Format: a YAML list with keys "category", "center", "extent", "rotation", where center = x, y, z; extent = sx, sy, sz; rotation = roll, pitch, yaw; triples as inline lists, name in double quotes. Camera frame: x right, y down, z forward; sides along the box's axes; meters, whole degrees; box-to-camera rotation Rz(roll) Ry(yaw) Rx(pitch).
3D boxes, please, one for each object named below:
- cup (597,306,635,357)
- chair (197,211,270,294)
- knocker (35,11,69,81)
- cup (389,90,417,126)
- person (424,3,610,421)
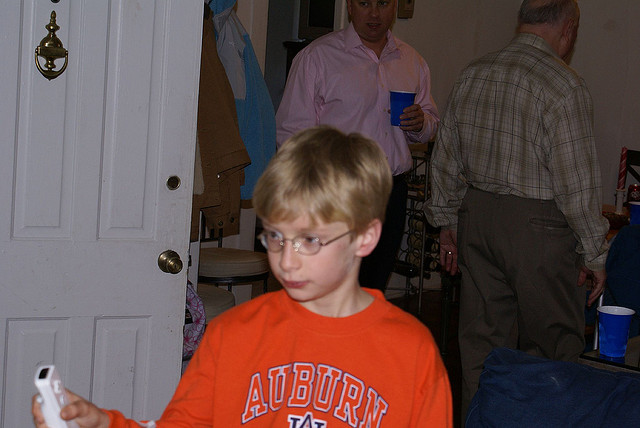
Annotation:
- category: "cup"
  center: [1.174, 0.475, 2.551]
  extent: [0.109, 0.213, 0.132]
  rotation: [10, 13, 35]
- category: "chair"
  center: [-0.537, 0.307, 3.860]
  extent: [0.392, 0.525, 0.471]
  rotation: [16, 12, 0]
- category: "knocker"
  center: [-1.056, -0.706, 2.514]
  extent: [0.126, 0.286, 0.070]
  rotation: [4, 5, -8]
- category: "cup"
  center: [0.438, -0.622, 3.498]
  extent: [0.154, 0.206, 0.173]
  rotation: [1, 17, -5]
- category: "person"
  center: [0.998, 0.024, 3.272]
  extent: [0.874, 2.287, 0.413]
  rotation: [-2, -3, 26]
